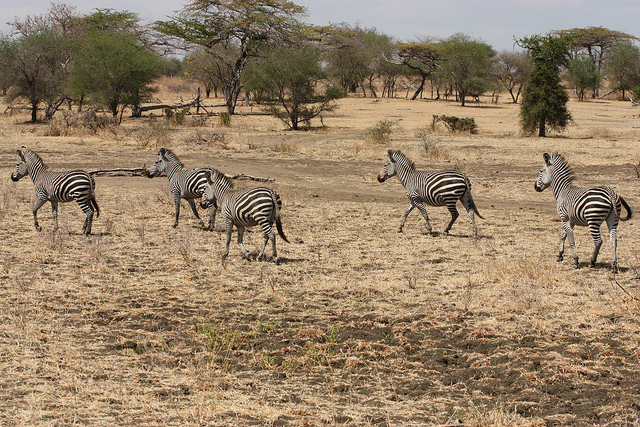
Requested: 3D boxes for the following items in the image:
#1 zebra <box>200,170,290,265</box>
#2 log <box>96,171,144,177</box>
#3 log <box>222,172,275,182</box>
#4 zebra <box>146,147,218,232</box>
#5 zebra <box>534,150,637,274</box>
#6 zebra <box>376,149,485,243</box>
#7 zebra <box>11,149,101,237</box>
[{"bbox_3d":[-2.689,0.097,30.842,3.713,3.108,1.161,3,4,35],"label":"zebra"},{"bbox_3d":[-8.530,-1.709,38.747,1.893,0.241,0.451,-3,4,-15],"label":"log"},{"bbox_3d":[-2.985,-1.507,37.396,2.103,0.221,0.446,3,46,2],"label":"log"},{"bbox_3d":[-4.811,-0.884,32.878,3.533,2.806,1.037,9,13,33],"label":"zebra"},{"bbox_3d":[8.585,-0.056,30.111,2.495,3.966,0.984,1,4,44],"label":"zebra"},{"bbox_3d":[3.900,-0.675,32.604,3.917,3.153,1.132,5,10,24],"label":"zebra"},{"bbox_3d":[-9.373,-0.694,32.048,3.304,2.784,0.991,7,12,11],"label":"zebra"}]
